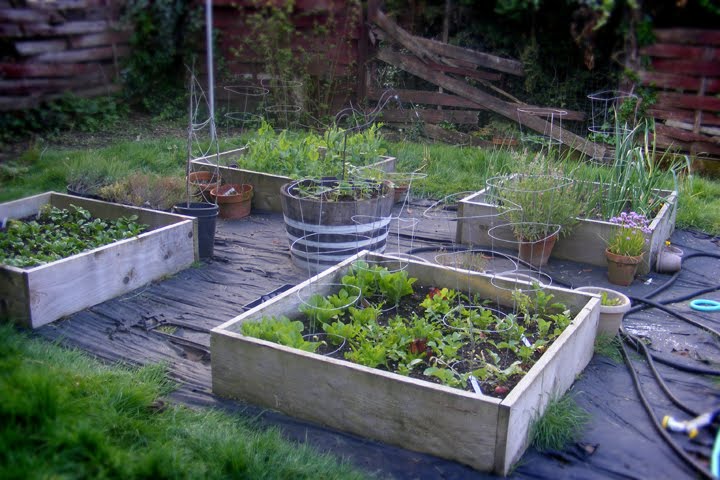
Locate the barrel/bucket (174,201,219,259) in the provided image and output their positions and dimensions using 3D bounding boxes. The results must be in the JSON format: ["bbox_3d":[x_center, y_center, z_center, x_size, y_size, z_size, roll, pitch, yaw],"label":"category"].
[{"bbox_3d":[-1.553,-0.136,5.770,0.488,0.590,0.497,0,3,0],"label":"barrel/bucket"}]
